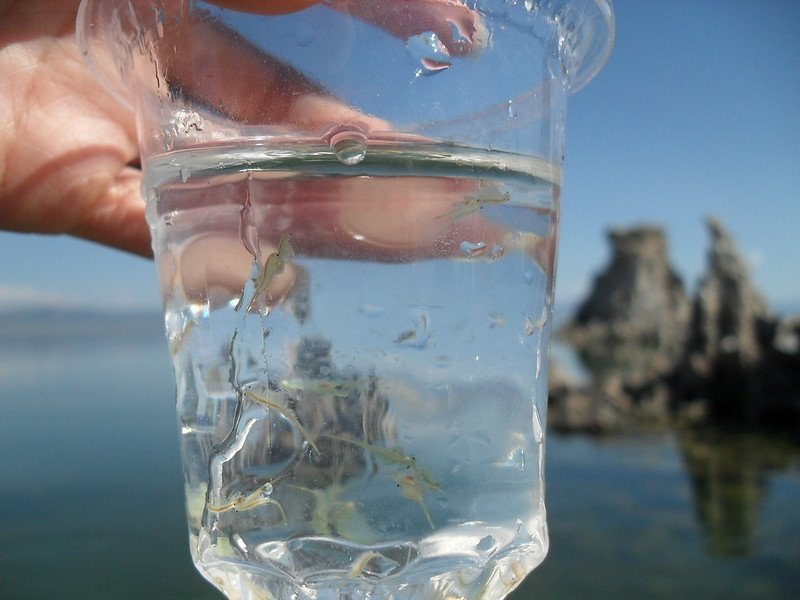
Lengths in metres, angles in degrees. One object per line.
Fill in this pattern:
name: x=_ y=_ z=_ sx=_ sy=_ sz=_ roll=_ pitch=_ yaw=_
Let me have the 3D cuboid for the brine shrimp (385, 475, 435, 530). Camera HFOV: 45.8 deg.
brine shrimp: x=0.009 y=0.188 z=0.863 sx=0.037 sy=0.030 sz=0.018 roll=41 pitch=-9 yaw=1

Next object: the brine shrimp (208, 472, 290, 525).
brine shrimp: x=-0.138 y=0.187 z=0.870 sx=0.071 sy=0.030 sz=0.014 roll=13 pitch=6 yaw=13

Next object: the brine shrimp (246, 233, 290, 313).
brine shrimp: x=-0.117 y=-0.024 z=0.869 sx=0.021 sy=0.076 sz=0.012 roll=29 pitch=-7 yaw=-1
